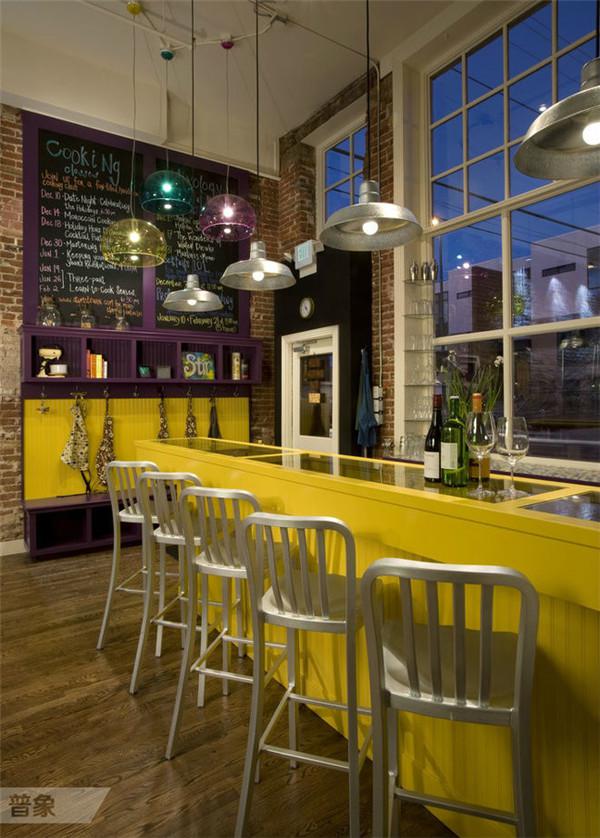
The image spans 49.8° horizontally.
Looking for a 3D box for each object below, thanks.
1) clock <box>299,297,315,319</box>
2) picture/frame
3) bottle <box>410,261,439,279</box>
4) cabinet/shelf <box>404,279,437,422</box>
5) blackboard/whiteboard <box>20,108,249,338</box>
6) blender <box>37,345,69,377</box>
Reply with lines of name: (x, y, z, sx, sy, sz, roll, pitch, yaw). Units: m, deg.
clock: (0.062, -0.949, 5.564, 0.040, 0.212, 0.171, 1, 5, -28)
picture/frame: (-0.819, -2.016, 4.846, 1.470, 3.274, 0.625, 4, 7, 21)
bottle: (0.881, -1.037, 4.596, 0.169, 0.209, 0.114, -2, 8, -12)
cabinet/shelf: (0.866, -0.442, 4.719, 0.218, 1.105, 0.190, 1, 6, 15)
blackboard/whiteboard: (-1.323, -1.479, 4.841, 1.757, 1.824, 0.138, 3, -4, -43)
blender: (-1.818, -0.403, 4.759, 0.205, 0.222, 0.275, -3, 6, -22)
